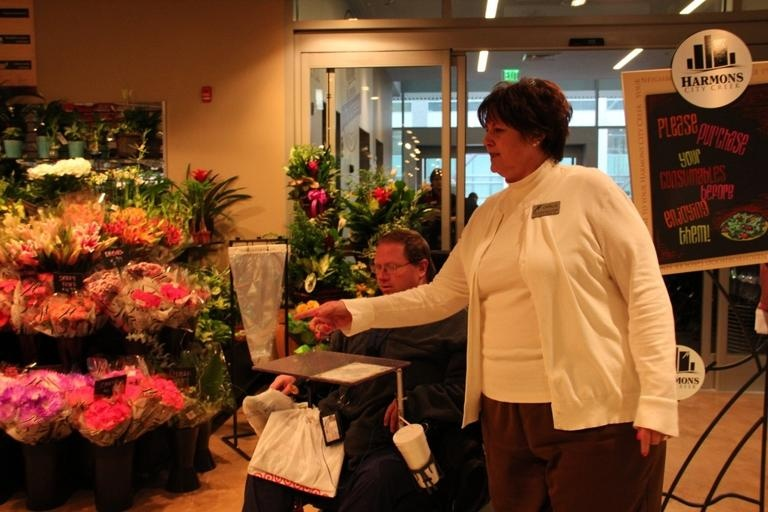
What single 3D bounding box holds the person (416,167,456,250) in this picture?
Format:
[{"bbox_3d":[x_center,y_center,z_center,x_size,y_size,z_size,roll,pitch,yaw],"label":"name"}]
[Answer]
[{"bbox_3d":[0.439,-0.346,5.443,0.349,0.787,0.238,-6,33,-7],"label":"person"}]
